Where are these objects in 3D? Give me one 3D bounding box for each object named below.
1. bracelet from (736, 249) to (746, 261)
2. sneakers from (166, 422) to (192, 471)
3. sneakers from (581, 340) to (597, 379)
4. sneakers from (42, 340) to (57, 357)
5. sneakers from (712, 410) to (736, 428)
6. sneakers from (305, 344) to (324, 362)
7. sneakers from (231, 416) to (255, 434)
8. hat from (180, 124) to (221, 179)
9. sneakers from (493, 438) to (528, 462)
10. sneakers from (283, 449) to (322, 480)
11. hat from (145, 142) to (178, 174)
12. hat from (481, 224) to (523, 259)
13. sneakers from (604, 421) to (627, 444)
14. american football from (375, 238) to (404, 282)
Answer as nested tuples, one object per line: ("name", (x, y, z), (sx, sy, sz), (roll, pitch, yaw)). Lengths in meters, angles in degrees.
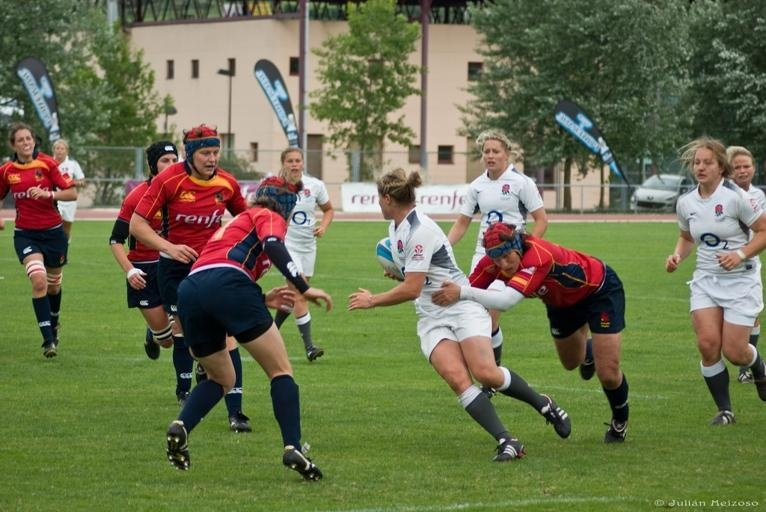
("bracelet", (4.318, -0.008, 13.076), (0.034, 0.111, 0.117), (-32, 46, -8))
("sneakers", (-2.176, 2.029, 11.616), (0.218, 0.533, 0.292), (-2, -2, 2))
("sneakers", (2.534, 1.290, 13.398), (0.193, 0.519, 0.231), (3, 27, 10))
("sneakers", (-4.666, 1.295, 15.146), (0.156, 0.222, 0.108), (16, 36, -7))
("sneakers", (4.072, 1.952, 12.949), (0.249, 0.141, 0.151), (-16, -4, 4))
("sneakers", (-0.996, 1.376, 15.331), (0.134, 0.167, 0.366), (-46, 11, -20))
("sneakers", (-1.680, 1.997, 12.814), (0.142, 0.125, 0.289), (0, -5, -25))
("hat", (-2.141, -1.230, 12.765), (0.406, 0.651, 0.528), (-2, 7, -11))
("sneakers", (1.419, 2.153, 12.107), (0.368, 0.254, 0.203), (-1, 7, -4))
("sneakers", (-0.879, 2.263, 11.670), (0.132, 0.371, 0.184), (-37, 26, 35))
("hat", (-2.917, -1.297, 14.183), (0.470, 0.433, 0.353), (0, 3, 26))
("hat", (1.326, -0.140, 12.092), (0.376, 0.337, 0.407), (-28, -16, 14))
("sneakers", (2.695, 2.049, 12.531), (0.144, 0.258, 0.400), (2, 7, 4))
("american football", (0.069, 0.037, 12.690), (0.170, 0.470, 0.352), (-42, -5, -5))
